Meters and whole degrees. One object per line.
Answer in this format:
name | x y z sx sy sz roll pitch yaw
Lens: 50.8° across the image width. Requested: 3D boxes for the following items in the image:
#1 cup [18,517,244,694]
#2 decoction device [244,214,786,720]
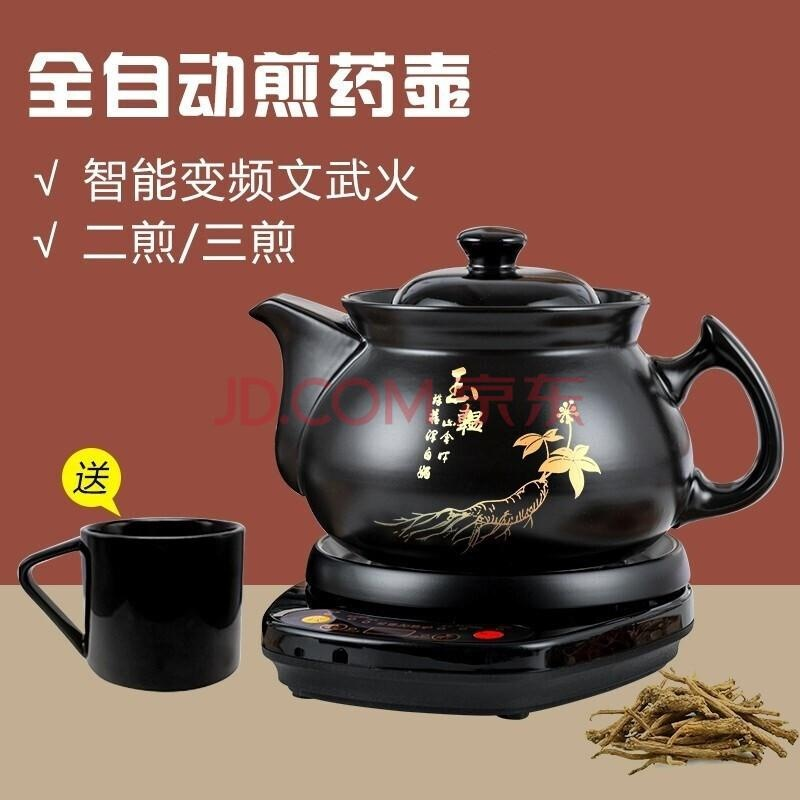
cup | -0.223 0.170 0.737 0.232 0.115 0.125 -6 7 9
decoction device | 0.086 0.037 0.785 0.497 0.277 0.318 3 10 20
